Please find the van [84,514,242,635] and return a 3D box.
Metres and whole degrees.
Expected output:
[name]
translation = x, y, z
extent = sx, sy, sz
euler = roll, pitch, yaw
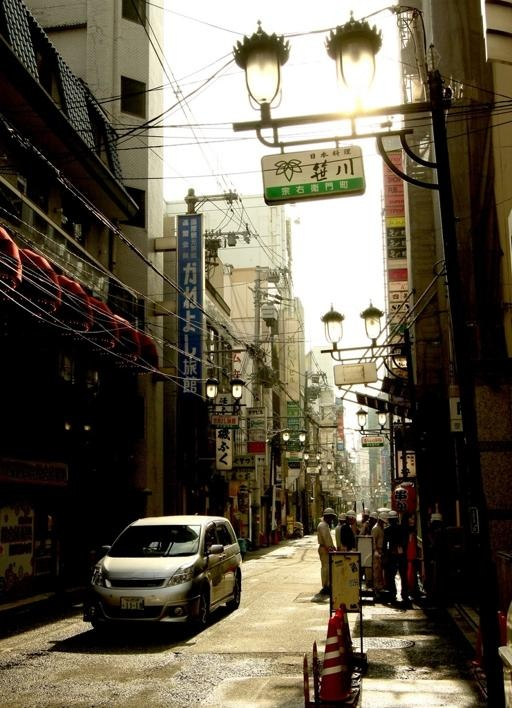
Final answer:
[van]
translation = -1.265, 3.165, 12.393
extent = 1.204, 1.033, 2.464
euler = -4, -24, 7
